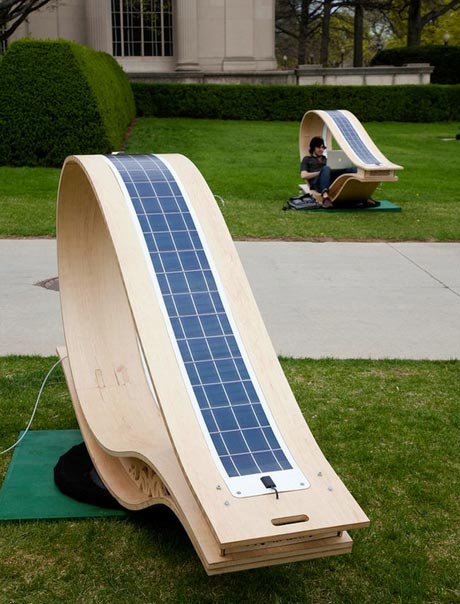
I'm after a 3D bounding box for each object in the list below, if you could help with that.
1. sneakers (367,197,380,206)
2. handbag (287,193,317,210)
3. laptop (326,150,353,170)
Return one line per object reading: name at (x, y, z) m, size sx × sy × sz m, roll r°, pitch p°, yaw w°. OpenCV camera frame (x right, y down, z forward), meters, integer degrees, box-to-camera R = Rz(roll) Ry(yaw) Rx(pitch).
sneakers at (2.694, -1.798, 14.650) m, size 0.253 × 0.158 × 0.383 m, roll -2°, pitch 8°, yaw 12°
handbag at (1.341, -1.773, 14.411) m, size 0.545 × 0.289 × 0.463 m, roll -3°, pitch 8°, yaw 7°
laptop at (2.013, -2.532, 14.342) m, size 0.453 × 0.339 × 0.300 m, roll -3°, pitch 8°, yaw 10°
